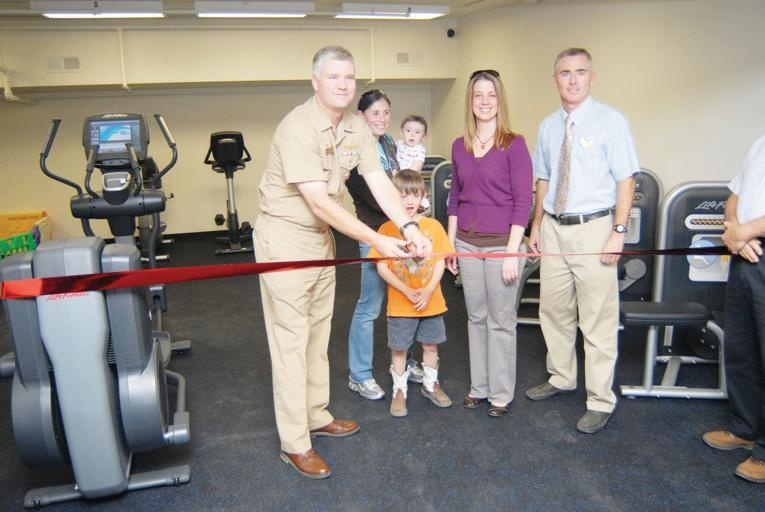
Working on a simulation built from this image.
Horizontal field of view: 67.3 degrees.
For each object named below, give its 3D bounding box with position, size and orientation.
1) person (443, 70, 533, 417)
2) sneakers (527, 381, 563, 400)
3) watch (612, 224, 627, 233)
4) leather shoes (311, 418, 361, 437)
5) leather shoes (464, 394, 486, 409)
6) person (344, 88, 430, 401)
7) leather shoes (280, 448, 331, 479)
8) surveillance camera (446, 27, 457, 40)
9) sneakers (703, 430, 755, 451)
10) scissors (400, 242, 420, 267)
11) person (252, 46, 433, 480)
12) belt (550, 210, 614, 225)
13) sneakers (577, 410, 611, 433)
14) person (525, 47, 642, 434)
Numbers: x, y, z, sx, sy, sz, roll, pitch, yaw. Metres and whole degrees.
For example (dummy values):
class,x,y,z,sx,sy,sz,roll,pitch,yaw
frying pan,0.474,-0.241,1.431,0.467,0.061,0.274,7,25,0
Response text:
class,x,y,z,sx,sy,sz,roll,pitch,yaw
person,0.672,-0.066,3.806,0.564,2.238,0.423,4,15,21
sneakers,1.137,0.953,4.030,0.234,0.096,0.115,-1,6,-10
watch,1.490,-0.171,3.634,0.060,0.035,0.060,4,5,-5
leather shoes,-0.320,1.105,3.804,0.322,0.132,0.117,-5,5,-8
leather shoes,0.627,1.011,3.946,0.140,0.037,0.067,4,-6,-29
person,0.041,-0.090,4.114,0.682,2.148,0.574,1,24,4
leather shoes,-0.465,1.228,3.526,0.310,0.149,0.135,9,10,27
surveillance camera,1.038,-3.419,8.818,0.138,0.138,0.034,-6,12,-14
sneakers,2.106,1.141,3.539,0.276,0.125,0.108,7,17,14
scissors,0.184,-0.001,3.785,0.102,0.137,0.050,-3,-1,17
person,-0.321,0.047,3.438,0.868,2.483,0.623,-5,15,-13
belt,1.304,-0.245,3.706,0.338,0.110,0.062,2,15,15
sneakers,1.351,1.071,3.720,0.206,0.114,0.105,-11,17,-33
person,1.228,-0.109,3.745,0.715,2.396,0.550,9,18,36
